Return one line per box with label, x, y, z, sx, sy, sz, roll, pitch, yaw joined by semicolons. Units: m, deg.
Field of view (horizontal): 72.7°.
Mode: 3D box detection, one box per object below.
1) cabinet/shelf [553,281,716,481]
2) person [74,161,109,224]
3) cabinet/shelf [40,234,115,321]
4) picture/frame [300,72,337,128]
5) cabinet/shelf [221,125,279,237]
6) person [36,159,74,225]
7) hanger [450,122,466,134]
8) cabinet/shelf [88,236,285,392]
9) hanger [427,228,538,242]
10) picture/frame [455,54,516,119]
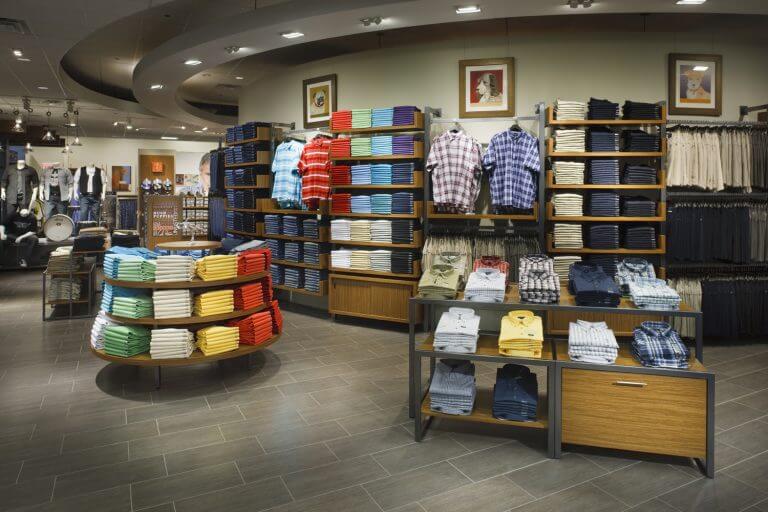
cabinet/shelf;2.565;1.130;5.585;1.419;1.497;1.919;2;6;17
person;-8.315;-1.769;14.837;0.795;1.665;0.826;-3;7;-26
cabinet/shelf;-5.267;0.413;9.033;1.254;1.004;1.863;-1;6;-17
picture/frame;-1.152;-2.788;9.500;0.887;0.895;0.079;5;9;41
cabinet/shelf;-2.657;-1.473;10.480;0.450;2.244;1.483;-7;9;-44
person;-8.825;-1.761;14.236;0.654;1.487;0.639;-5;8;-35
hanger;1.162;-1.981;8.130;0.184;0.118;0.272;-20;18;-14
cabinet/shelf;-2.452;0.572;6.541;2.254;1.052;2.124;-3;6;-39
hanger;1.532;-0.343;8.154;1.656;0.157;0.466;1;5;9
picture/frame;1.573;-2.607;8.129;1.186;0.853;0.083;-16;27;-31
